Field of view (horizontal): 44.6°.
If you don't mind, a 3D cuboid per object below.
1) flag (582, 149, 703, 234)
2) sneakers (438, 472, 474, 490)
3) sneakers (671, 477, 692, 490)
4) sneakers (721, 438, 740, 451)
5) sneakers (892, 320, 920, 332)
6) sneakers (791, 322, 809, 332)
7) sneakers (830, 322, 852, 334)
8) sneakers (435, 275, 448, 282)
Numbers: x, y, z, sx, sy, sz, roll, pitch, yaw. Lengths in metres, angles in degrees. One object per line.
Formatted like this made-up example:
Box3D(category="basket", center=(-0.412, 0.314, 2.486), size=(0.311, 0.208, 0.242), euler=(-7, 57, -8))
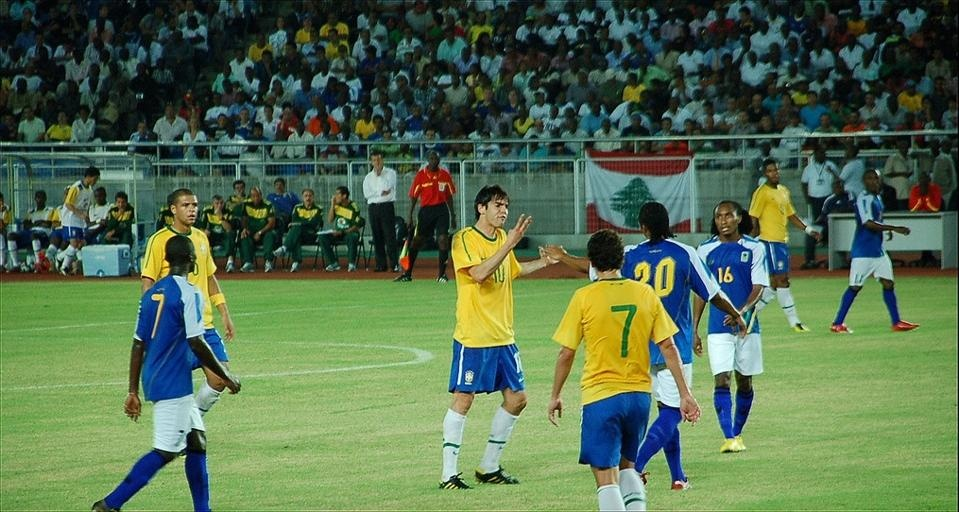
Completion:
Box3D(category="flag", center=(4.957, -1.885, 34.132), size=(3.235, 2.201, 0.247), euler=(0, -3, 5))
Box3D(category="sneakers", center=(-0.416, 3.944, 20.222), size=(0.539, 0.175, 0.130), euler=(-2, 1, -4))
Box3D(category="sneakers", center=(3.524, 3.993, 20.241), size=(0.322, 0.189, 0.158), euler=(-3, 7, -26))
Box3D(category="sneakers", center=(4.552, 3.469, 21.089), size=(0.195, 0.222, 0.329), euler=(1, 8, -11))
Box3D(category="sneakers", center=(9.642, 1.626, 26.392), size=(0.650, 0.263, 0.233), euler=(-3, 5, 1))
Box3D(category="sneakers", center=(7.357, 1.684, 26.653), size=(0.220, 0.107, 0.279), euler=(1, 7, -3))
Box3D(category="sneakers", center=(8.198, 1.685, 26.357), size=(0.471, 0.203, 0.197), euler=(0, 6, -5))
Box3D(category="sneakers", center=(-1.049, 0.690, 32.931), size=(0.312, 0.200, 0.170), euler=(9, 4, -12))
